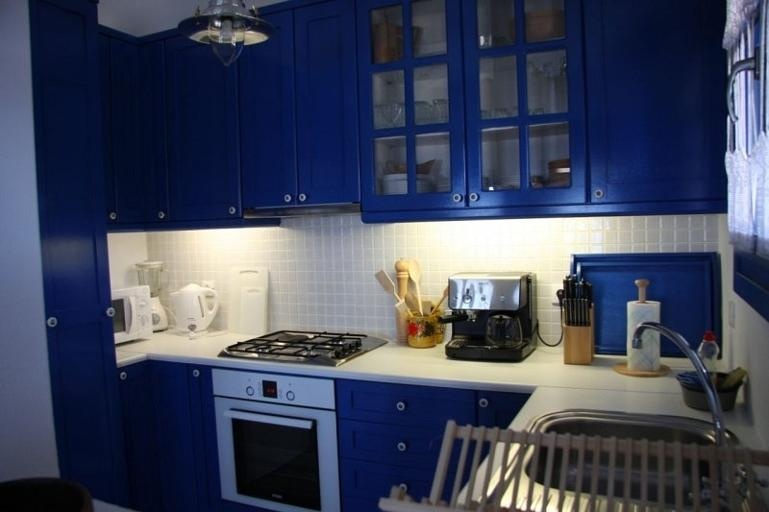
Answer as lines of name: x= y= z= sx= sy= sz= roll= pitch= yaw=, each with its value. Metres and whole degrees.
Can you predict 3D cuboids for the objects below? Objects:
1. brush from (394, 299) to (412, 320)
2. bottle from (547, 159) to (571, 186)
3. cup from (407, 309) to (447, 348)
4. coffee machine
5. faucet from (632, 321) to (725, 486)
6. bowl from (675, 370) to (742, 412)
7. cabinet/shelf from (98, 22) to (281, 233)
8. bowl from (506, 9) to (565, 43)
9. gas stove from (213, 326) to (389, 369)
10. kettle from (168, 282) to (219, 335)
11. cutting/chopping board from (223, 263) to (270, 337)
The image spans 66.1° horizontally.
brush: x=0.109 y=0.308 z=3.470 sx=0.053 sy=0.027 sz=0.168 roll=-46 pitch=-18 yaw=-4
bottle: x=0.878 y=-0.425 z=2.977 sx=0.120 sy=0.118 sz=0.122 roll=-1 pitch=5 yaw=-1
cup: x=0.228 y=0.424 z=3.458 sx=0.198 sy=0.177 sz=0.200 roll=-1 pitch=-5 yaw=0
coffee machine: x=0.562 y=0.313 z=3.245 sx=0.455 sy=0.436 sz=0.417 roll=1 pitch=4 yaw=29
faucet: x=1.073 y=0.420 z=2.198 sx=0.269 sy=0.381 sz=0.572 roll=-2 pitch=4 yaw=23
bowl: x=1.427 y=0.573 z=2.597 sx=0.258 sy=0.151 sz=0.233 roll=0 pitch=10 yaw=28
cabinet/shelf: x=-1.157 y=-0.785 z=3.545 sx=1.285 sy=1.241 sz=0.509 roll=-1 pitch=-1 yaw=27
bowl: x=0.802 y=-1.150 z=2.996 sx=0.160 sy=0.094 sz=0.160 roll=-4 pitch=14 yaw=1
gas stove: x=-0.454 y=0.523 z=3.483 sx=0.840 sy=0.089 sz=0.583 roll=-2 pitch=4 yaw=22
kettle: x=-1.244 y=0.334 z=3.901 sx=0.288 sy=0.297 sz=0.211 roll=-4 pitch=3 yaw=-25
cutting/chopping board: x=-0.896 y=0.288 z=3.901 sx=0.283 sy=0.444 sz=0.102 roll=-2 pitch=4 yaw=23
